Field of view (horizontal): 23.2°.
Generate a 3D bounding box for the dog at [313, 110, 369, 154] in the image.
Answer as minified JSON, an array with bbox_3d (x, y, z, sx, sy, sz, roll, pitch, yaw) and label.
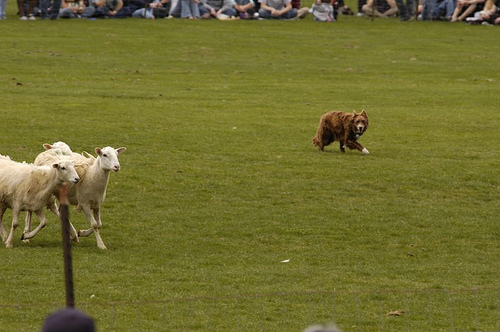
[{"bbox_3d":[3.758,-1.301,48.442,0.939,1.617,3.455,-4,5,-28],"label":"dog"}]
